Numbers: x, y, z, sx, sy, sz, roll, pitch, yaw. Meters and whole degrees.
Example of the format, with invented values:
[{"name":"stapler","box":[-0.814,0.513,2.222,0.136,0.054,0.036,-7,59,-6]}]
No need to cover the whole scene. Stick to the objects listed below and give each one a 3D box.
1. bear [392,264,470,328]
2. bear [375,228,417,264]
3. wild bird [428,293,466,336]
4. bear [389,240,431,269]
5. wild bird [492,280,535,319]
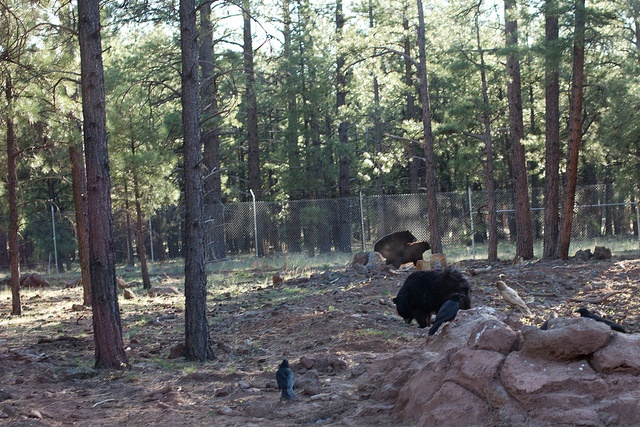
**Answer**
[{"name":"bear","box":[3.683,2.594,29.956,1.280,1.550,2.515,-3,-14,-37]},{"name":"bear","box":[3.037,1.324,38.277,1.520,0.952,0.916,-17,23,-4]},{"name":"wild bird","box":[3.802,2.991,28.454,0.599,0.795,1.650,4,16,36]},{"name":"bear","box":[3.678,1.626,38.346,2.112,1.214,0.714,-7,14,-10]},{"name":"wild bird","box":[6.065,2.641,29.188,0.996,1.134,0.579,-2,13,11]}]
